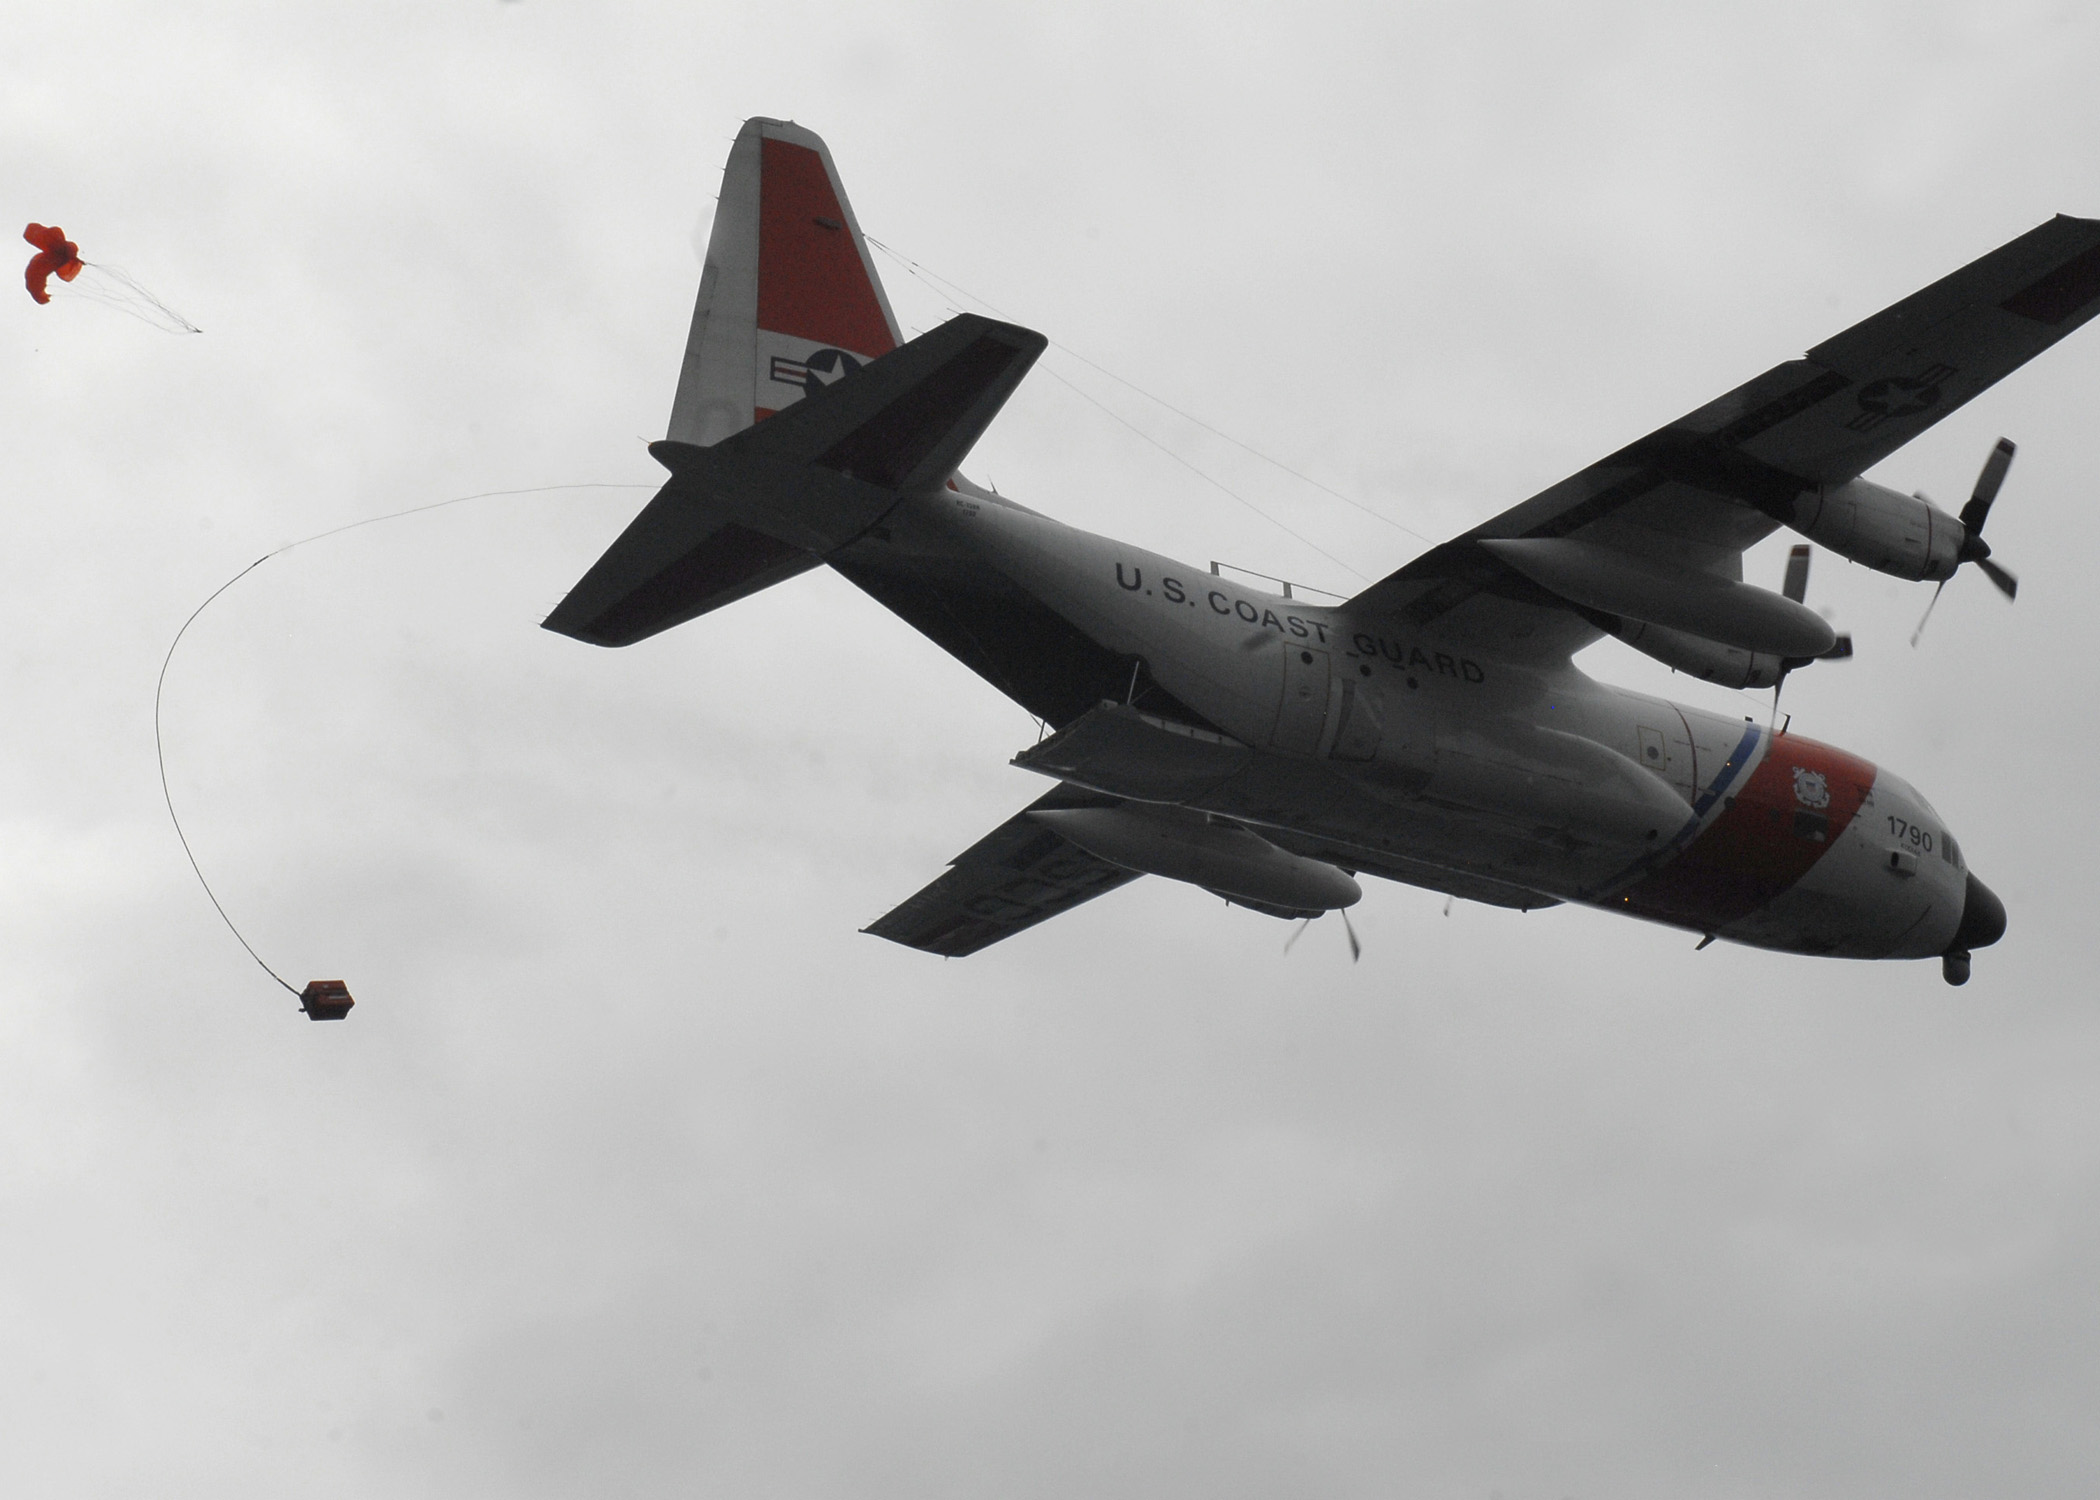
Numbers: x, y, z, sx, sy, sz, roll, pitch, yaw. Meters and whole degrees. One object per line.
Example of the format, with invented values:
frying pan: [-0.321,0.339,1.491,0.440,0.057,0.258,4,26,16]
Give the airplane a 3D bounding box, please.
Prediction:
airplane: [3.005,-1.034,26.645,9.546,3.171,9.242,23,-35,-31]
